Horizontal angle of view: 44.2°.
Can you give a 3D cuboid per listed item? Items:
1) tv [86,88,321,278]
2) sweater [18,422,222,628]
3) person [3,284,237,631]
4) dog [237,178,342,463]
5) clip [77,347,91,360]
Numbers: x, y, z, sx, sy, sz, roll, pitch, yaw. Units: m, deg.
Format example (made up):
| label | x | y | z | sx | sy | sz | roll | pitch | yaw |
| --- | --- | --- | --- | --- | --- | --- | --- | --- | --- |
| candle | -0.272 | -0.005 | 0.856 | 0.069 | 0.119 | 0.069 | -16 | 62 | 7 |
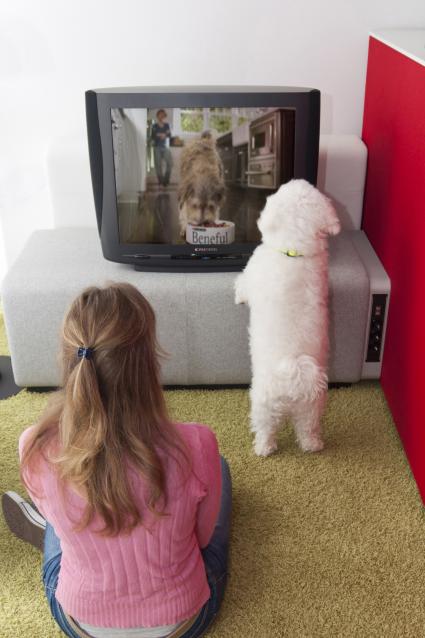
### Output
| label | x | y | z | sx | sy | sz | roll | pitch | yaw |
| --- | --- | --- | --- | --- | --- | --- | --- | --- | --- |
| tv | -0.076 | -0.559 | 2.025 | 0.780 | 0.679 | 0.436 | -7 | 37 | -12 |
| sweater | -0.116 | 0.338 | 1.043 | 0.319 | 0.441 | 0.385 | -1 | 27 | -4 |
| person | -0.154 | 0.302 | 0.963 | 0.403 | 0.730 | 0.320 | -7 | 26 | -8 |
| dog | 0.237 | 0.011 | 1.652 | 0.310 | 0.817 | 0.448 | -2 | 26 | 3 |
| clip | -0.196 | 0.053 | 0.806 | 0.017 | 0.005 | 0.018 | 4 | 67 | 3 |
